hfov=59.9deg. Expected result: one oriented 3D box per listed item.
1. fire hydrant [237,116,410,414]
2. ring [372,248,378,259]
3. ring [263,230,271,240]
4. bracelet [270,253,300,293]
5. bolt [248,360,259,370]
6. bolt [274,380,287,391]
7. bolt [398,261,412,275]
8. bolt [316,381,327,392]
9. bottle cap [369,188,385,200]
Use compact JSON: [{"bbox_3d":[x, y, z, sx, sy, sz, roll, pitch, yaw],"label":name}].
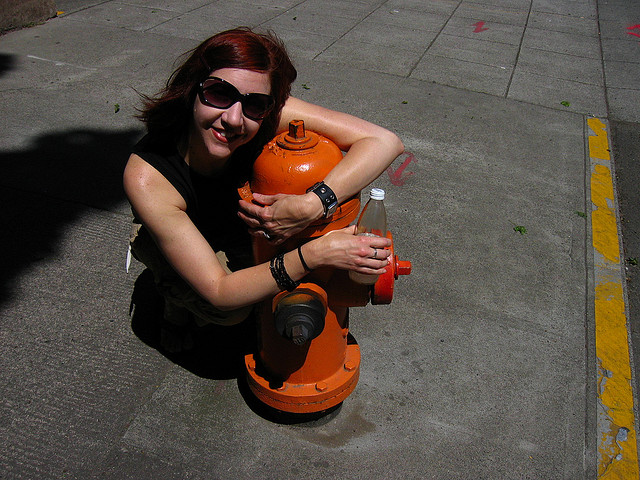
[{"bbox_3d":[-0.016,0.194,3.258,1.044,1.714,1.241,-2,34,0],"label":"fire hydrant"},{"bbox_3d":[0.298,0.072,2.967,0.015,0.031,0.043,5,88,31],"label":"ring"},{"bbox_3d":[-0.290,-0.030,3.030,0.028,0.070,0.031,-11,32,-8],"label":"ring"},{"bbox_3d":[-0.210,0.177,2.993,0.102,0.126,0.161,-27,62,-29],"label":"bracelet"},{"bbox_3d":[-0.414,0.779,3.459,0.064,0.047,0.046,-5,1,13],"label":"bolt"},{"bbox_3d":[-0.244,0.866,3.332,0.055,0.020,0.043,4,53,6],"label":"bolt"},{"bbox_3d":[0.507,0.179,3.282,0.093,0.065,0.069,-3,22,-6],"label":"bolt"},{"bbox_3d":[0.011,0.882,3.338,0.043,0.014,0.049,-8,30,-10],"label":"bolt"},{"bbox_3d":[0.317,-0.252,3.093,0.085,0.044,0.084,-7,28,-15],"label":"bottle cap"}]
